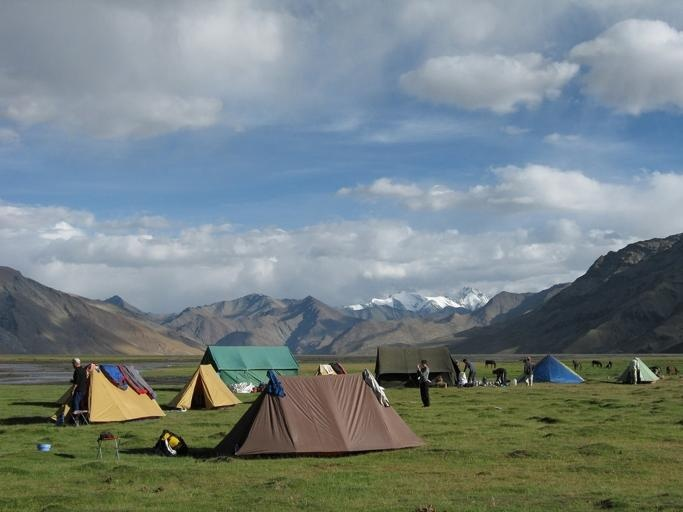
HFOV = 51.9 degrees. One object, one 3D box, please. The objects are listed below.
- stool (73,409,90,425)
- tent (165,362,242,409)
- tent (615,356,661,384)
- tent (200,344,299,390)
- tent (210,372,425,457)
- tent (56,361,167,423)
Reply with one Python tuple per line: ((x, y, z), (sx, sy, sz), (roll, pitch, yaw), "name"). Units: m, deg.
((-14.203, 8.801, 38.224), (0.873, 1.099, 0.718), (-13, -16, 24), "stool")
((-9.705, 8.959, 48.175), (3.872, 2.094, 3.102), (-4, 5, 10), "tent")
((26.661, 10.605, 62.738), (2.579, 1.342, 3.034), (-8, -17, 26), "tent")
((-7.792, 11.348, 64.743), (8.526, 2.918, 5.986), (3, -5, -32), "tent")
((-0.858, 7.009, 32.161), (8.607, 2.847, 6.053), (2, -3, -24), "tent")
((-13.835, 8.122, 40.805), (5.375, 3.786, 5.296), (-1, -2, 30), "tent")
